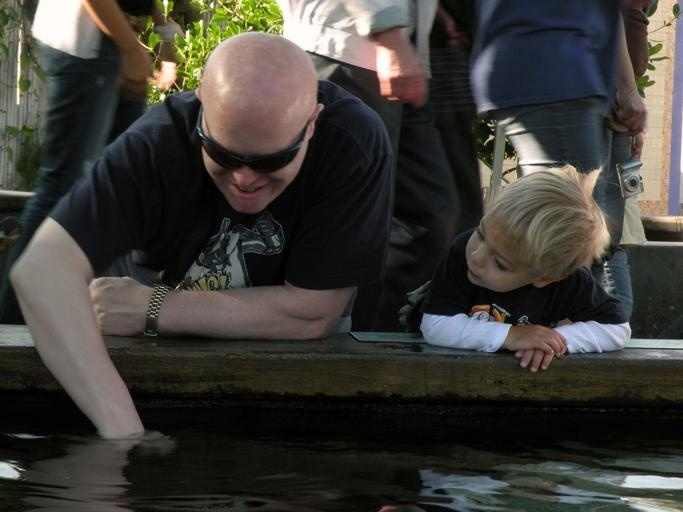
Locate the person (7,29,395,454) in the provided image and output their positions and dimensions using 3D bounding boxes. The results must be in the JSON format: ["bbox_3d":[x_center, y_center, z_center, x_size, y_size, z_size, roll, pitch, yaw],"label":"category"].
[{"bbox_3d":[-0.489,-0.078,2.780,1.226,1.179,0.686,-4,11,-38],"label":"person"}]

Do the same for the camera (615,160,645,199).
[{"bbox_3d":[1.411,-0.283,3.767,0.090,0.145,0.113,-3,-8,-28],"label":"camera"}]
